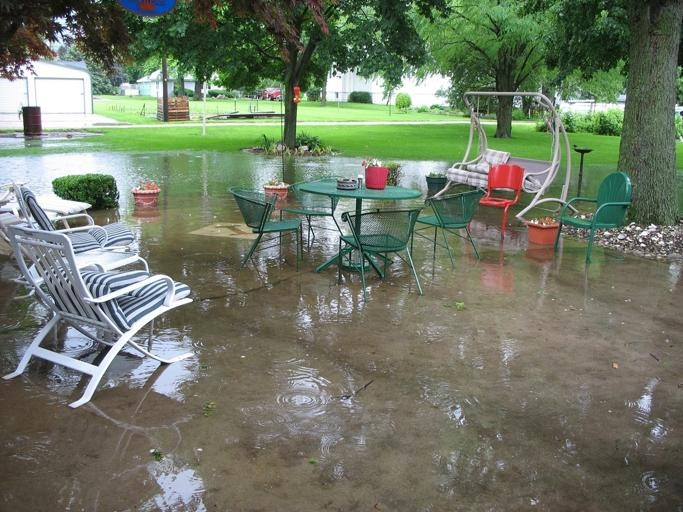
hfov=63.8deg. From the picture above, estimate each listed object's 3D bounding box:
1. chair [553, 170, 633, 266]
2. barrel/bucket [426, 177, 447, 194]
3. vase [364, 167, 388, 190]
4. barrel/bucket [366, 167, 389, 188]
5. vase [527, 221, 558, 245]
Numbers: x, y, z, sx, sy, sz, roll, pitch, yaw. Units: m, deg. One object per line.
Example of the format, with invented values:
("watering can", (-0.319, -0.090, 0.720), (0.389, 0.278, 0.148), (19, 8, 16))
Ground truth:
("chair", (3.949, -0.659, 8.594), (0.944, 1.209, 0.893), (-14, 19, -32))
("barrel/bucket", (2.358, -1.827, 13.907), (0.535, 0.376, 0.525), (0, 5, 0))
("vase", (0.465, -1.067, 7.486), (0.328, 0.266, 0.304), (-1, 11, -8))
("barrel/bucket", (0.477, -1.067, 7.408), (0.311, 0.249, 0.284), (1, 11, 0))
("vase", (3.261, -0.364, 8.954), (0.401, 0.332, 0.460), (-1, 9, -12))
